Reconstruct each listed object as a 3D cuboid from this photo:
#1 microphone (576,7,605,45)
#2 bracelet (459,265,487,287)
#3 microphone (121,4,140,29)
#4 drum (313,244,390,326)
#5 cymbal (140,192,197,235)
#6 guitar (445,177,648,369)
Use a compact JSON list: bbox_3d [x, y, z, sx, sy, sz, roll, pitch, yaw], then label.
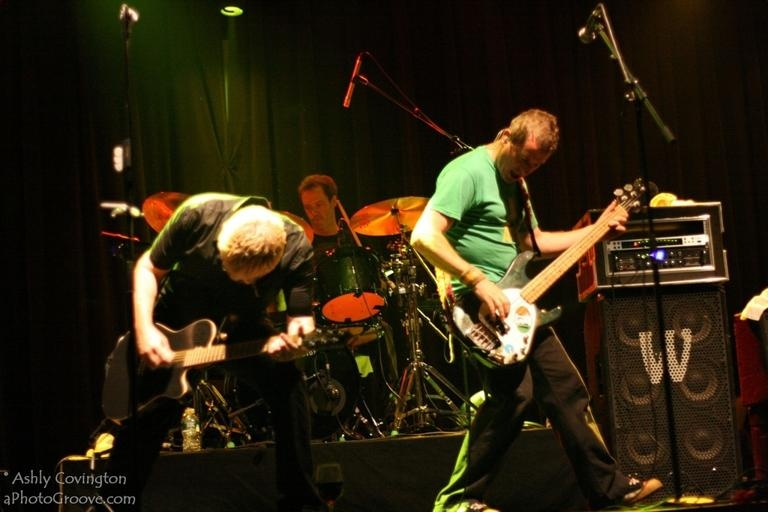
[{"bbox_3d":[1.426,-1.604,5.474,0.116,0.221,0.275,-4,-2,-10],"label":"microphone"},{"bbox_3d":[0.575,0.134,5.089,0.135,0.058,0.112,-22,-4,33],"label":"bracelet"},{"bbox_3d":[-1.766,-1.659,5.492,0.097,0.216,0.190,-4,-2,-13],"label":"microphone"},{"bbox_3d":[-0.292,0.096,6.995,0.590,0.475,0.577,-16,11,-30],"label":"drum"},{"bbox_3d":[-1.894,-0.405,6.728,0.358,0.101,0.402,19,-32,-39],"label":"cymbal"},{"bbox_3d":[1.133,0.172,5.557,1.728,0.615,0.268,-46,4,-19],"label":"guitar"}]
